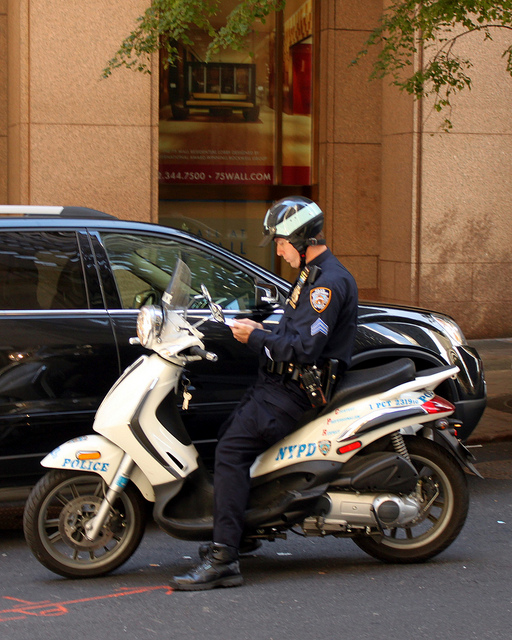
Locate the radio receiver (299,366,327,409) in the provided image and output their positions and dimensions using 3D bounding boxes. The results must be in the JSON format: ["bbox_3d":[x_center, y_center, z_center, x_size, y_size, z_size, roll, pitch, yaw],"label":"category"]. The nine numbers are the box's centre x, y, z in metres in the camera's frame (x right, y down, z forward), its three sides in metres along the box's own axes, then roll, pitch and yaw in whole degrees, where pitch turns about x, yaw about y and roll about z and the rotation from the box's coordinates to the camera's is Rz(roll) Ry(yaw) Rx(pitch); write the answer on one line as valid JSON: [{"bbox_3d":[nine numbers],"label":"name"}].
[{"bbox_3d":[0.233,0.275,2.521,0.051,0.162,0.101,-43,16,-29],"label":"radio receiver"}]

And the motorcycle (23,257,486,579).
[{"bbox_3d":[-0.009,0.463,2.740,2.006,1.141,0.648,1,-6,-6],"label":"motorcycle"}]

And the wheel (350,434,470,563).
[{"bbox_3d":[0.602,0.837,2.783,0.738,0.683,0.133,-12,26,4],"label":"wheel"}]

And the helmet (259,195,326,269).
[{"bbox_3d":[0.159,-0.393,2.713,0.260,0.306,0.297,14,29,43],"label":"helmet"}]

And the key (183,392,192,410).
[{"bbox_3d":[-0.298,0.349,2.664,0.040,0.059,0.018,9,7,35],"label":"key"}]

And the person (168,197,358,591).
[{"bbox_3d":[0.068,0.287,2.622,0.742,1.653,0.410,-1,-5,5],"label":"person"}]

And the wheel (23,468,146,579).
[{"bbox_3d":[-0.712,0.864,2.591,0.517,0.495,0.103,26,-3,-15],"label":"wheel"}]
